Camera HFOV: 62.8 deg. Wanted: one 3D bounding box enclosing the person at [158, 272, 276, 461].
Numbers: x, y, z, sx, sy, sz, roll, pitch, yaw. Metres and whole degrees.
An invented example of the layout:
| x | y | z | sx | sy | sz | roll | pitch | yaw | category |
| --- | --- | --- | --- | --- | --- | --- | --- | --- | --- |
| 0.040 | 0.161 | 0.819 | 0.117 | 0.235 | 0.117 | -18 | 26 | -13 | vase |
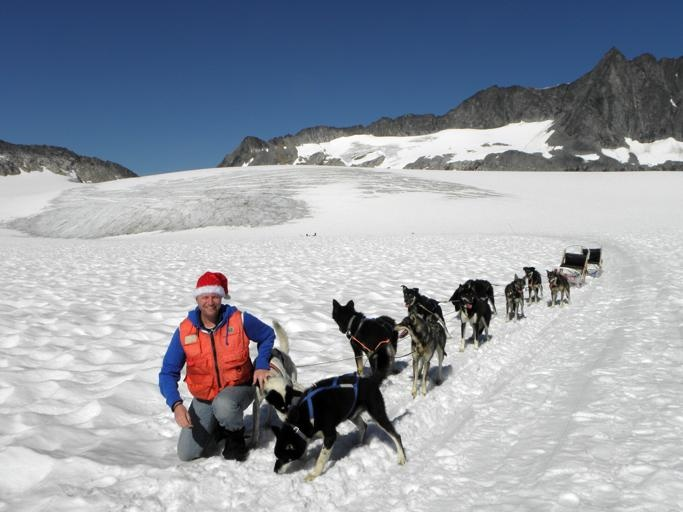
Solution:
| x | y | z | sx | sy | sz | roll | pitch | yaw | category |
| --- | --- | --- | --- | --- | --- | --- | --- | --- | --- |
| -1.818 | 1.539 | 7.865 | 1.552 | 2.579 | 0.746 | -1 | 12 | -9 | person |

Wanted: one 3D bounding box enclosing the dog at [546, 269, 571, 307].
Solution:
| x | y | z | sx | sy | sz | roll | pitch | yaw | category |
| --- | --- | --- | --- | --- | --- | --- | --- | --- | --- |
| 5.463 | 0.789 | 14.149 | 0.498 | 0.838 | 1.622 | -3 | -2 | 34 | dog |

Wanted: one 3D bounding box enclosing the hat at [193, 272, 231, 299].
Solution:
| x | y | z | sx | sy | sz | roll | pitch | yaw | category |
| --- | --- | --- | --- | --- | --- | --- | --- | --- | --- |
| -1.886 | 0.413 | 7.958 | 0.458 | 0.373 | 0.343 | -2 | -4 | -8 | hat |
